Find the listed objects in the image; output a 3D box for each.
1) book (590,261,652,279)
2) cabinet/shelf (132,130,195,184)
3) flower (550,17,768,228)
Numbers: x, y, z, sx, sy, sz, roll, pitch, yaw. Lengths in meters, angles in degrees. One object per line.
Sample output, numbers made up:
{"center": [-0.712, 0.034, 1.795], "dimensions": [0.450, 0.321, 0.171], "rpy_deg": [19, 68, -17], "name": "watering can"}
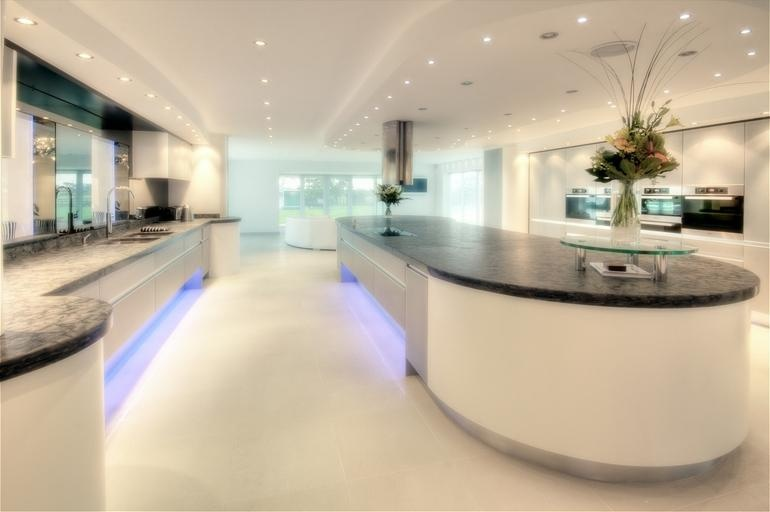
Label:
{"center": [1.642, 0.081, 3.149], "dimensions": [0.344, 0.069, 0.330], "rpy_deg": [3, 13, 12], "name": "book"}
{"center": [-3.512, -1.620, 7.192], "dimensions": [0.418, 0.740, 1.511], "rpy_deg": [0, 12, -4], "name": "cabinet/shelf"}
{"center": [1.731, -0.834, 3.251], "dimensions": [0.658, 1.185, 0.663], "rpy_deg": [2, 6, -25], "name": "flower"}
